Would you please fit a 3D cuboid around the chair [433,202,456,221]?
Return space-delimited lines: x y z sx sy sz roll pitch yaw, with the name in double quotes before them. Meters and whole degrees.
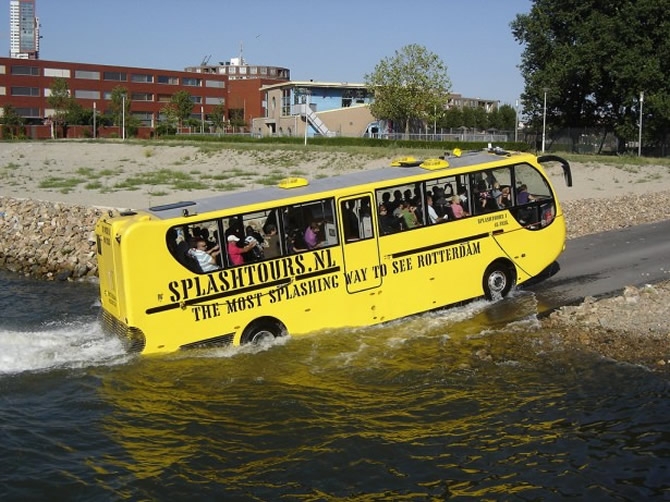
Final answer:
"chair" 2.511 -0.946 16.754 0.348 0.439 0.435 4 21 26

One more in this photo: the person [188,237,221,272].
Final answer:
"person" -2.658 0.078 14.534 0.399 0.780 0.304 -38 36 -17

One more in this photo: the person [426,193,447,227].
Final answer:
"person" 2.300 -0.944 16.576 0.412 0.741 0.447 -24 25 -13
